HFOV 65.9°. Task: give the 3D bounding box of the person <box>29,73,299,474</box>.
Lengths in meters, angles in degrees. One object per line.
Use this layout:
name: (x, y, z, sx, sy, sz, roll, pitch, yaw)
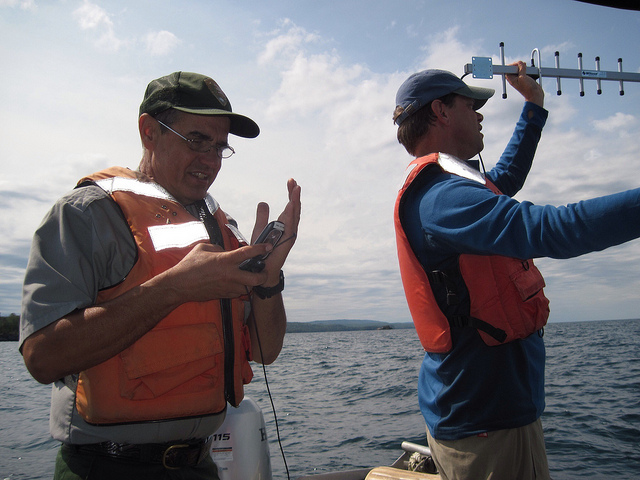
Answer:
person: (-0.953, 0.240, 3.150, 1.579, 2.842, 1.062, -1, -2, -32)
